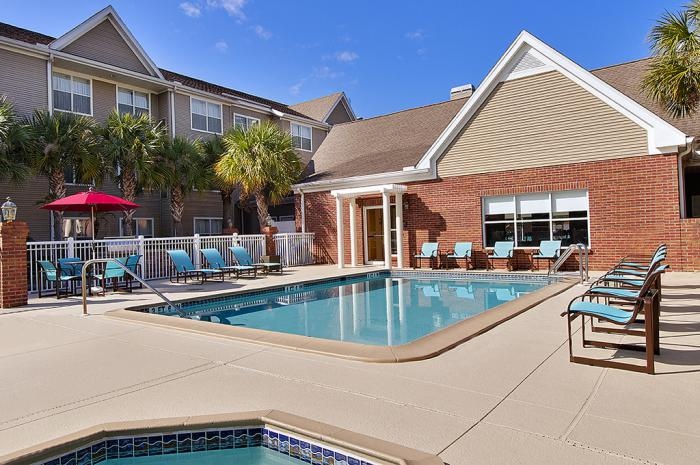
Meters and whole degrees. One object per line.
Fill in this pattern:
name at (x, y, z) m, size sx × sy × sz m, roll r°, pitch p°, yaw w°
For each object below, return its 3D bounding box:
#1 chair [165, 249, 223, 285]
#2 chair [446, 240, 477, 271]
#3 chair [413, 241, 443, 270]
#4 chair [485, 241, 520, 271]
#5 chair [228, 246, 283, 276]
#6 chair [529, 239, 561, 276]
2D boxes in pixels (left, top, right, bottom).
chair at (-5.800, 1.257, 19.849) m, size 1.995 × 1.167 × 1.031 m, roll 0°, pitch 0°, yaw 31°
chair at (4.515, 0.959, 22.577) m, size 1.176 × 1.563 × 1.065 m, roll -1°, pitch 2°, yaw 39°
chair at (3.307, 0.979, 23.178) m, size 1.218 × 1.484 × 1.071 m, roll -1°, pitch -1°, yaw 35°
chair at (5.957, 0.922, 21.065) m, size 0.881 × 1.165 × 0.803 m, roll -1°, pitch -1°, yaw 36°
chair at (-4.094, 1.137, 22.401) m, size 2.017 × 1.159 × 1.067 m, roll 0°, pitch 0°, yaw 29°
chair at (7.537, 0.892, 20.404) m, size 0.912 × 1.254 × 0.754 m, roll 1°, pitch 0°, yaw 43°
